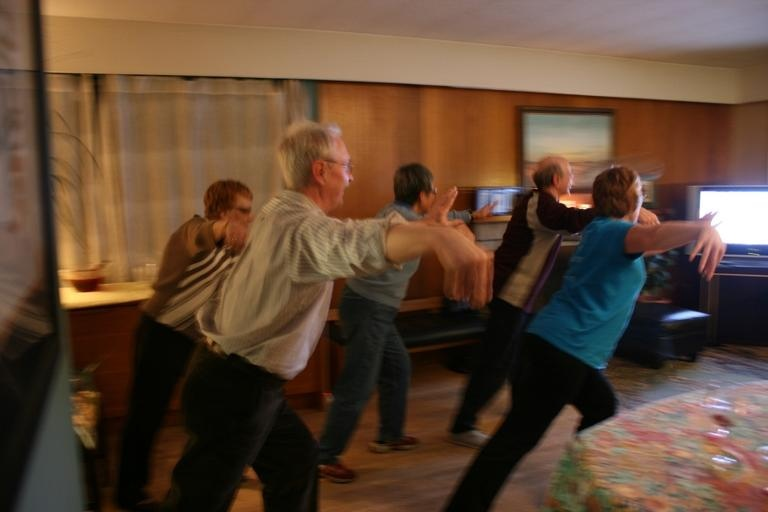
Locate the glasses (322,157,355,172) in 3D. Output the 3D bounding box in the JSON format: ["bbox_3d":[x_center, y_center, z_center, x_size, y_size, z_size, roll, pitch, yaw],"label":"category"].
[{"bbox_3d":[-0.047,-0.108,0.710,0.024,0.016,0.074,-2,6,13],"label":"glasses"}]

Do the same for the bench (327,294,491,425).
[{"bbox_3d":[0.097,0.198,1.648,0.183,0.271,0.469,6,1,34],"label":"bench"}]

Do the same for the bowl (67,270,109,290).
[{"bbox_3d":[-0.424,0.032,0.860,0.051,0.027,0.049,1,-3,0],"label":"bowl"}]
